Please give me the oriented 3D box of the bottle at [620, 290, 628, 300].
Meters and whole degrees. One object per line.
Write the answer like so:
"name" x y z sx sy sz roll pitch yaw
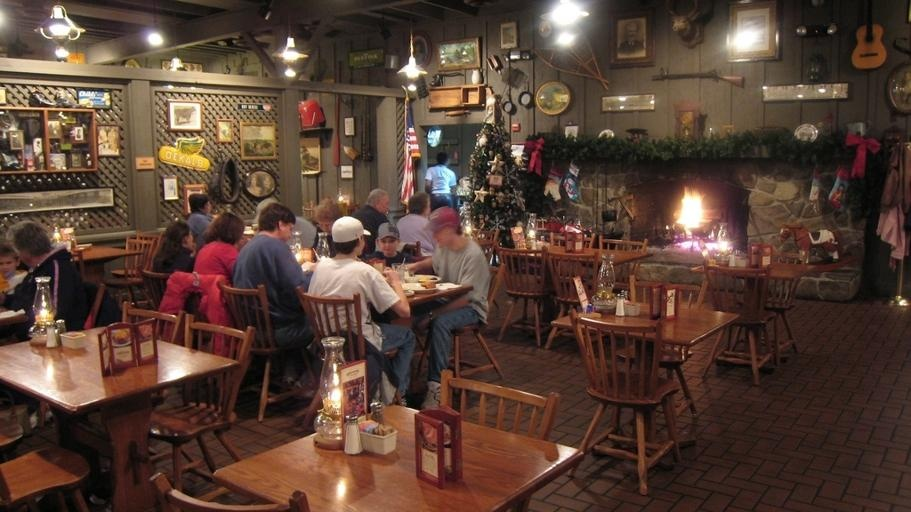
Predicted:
"bottle" 1.865 0.435 7.108 0.080 0.109 0.121 5 12 31

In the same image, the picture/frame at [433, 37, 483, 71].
"picture/frame" 0.102 -4.267 13.396 0.905 0.528 0.129 2 6 32

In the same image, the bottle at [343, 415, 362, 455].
"bottle" -0.780 1.381 4.881 0.141 0.269 0.114 -3 11 -10

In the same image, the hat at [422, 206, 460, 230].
"hat" -0.146 -0.452 7.604 0.358 0.176 0.254 3 10 18

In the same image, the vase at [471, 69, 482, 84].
"vase" 0.444 -3.733 13.233 0.225 0.346 0.359 -2 10 -5

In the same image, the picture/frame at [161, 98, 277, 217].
"picture/frame" -4.219 -1.761 11.213 2.463 2.562 0.143 -8 14 -36

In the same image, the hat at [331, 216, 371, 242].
"hat" -1.061 -0.288 6.625 0.234 0.165 0.336 10 19 33
